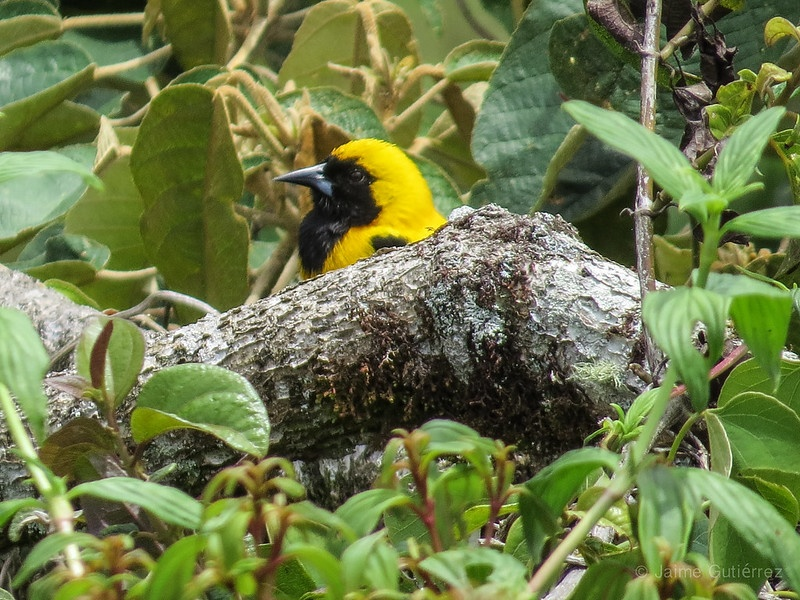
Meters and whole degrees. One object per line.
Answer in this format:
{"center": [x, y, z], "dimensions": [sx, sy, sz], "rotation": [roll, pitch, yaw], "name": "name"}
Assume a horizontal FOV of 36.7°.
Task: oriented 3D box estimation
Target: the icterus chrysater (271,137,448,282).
{"center": [-0.163, -0.317, 4.265], "dimensions": [0.590, 0.485, 0.382], "rotation": [2, 5, -9], "name": "icterus chrysater"}
